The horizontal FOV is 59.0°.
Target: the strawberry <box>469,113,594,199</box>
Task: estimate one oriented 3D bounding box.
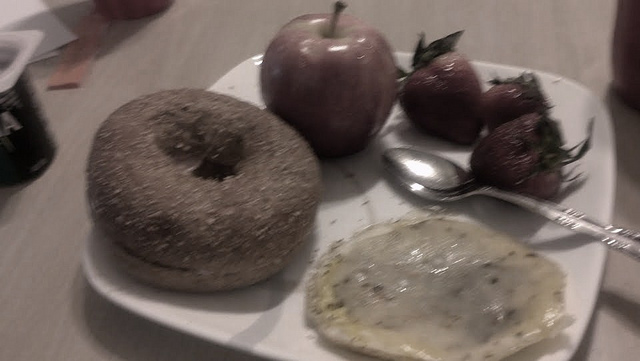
[{"bbox_3d":[0.361,-0.041,0.929,0.216,0.076,0.126,-7,56,1],"label":"strawberry"}]
